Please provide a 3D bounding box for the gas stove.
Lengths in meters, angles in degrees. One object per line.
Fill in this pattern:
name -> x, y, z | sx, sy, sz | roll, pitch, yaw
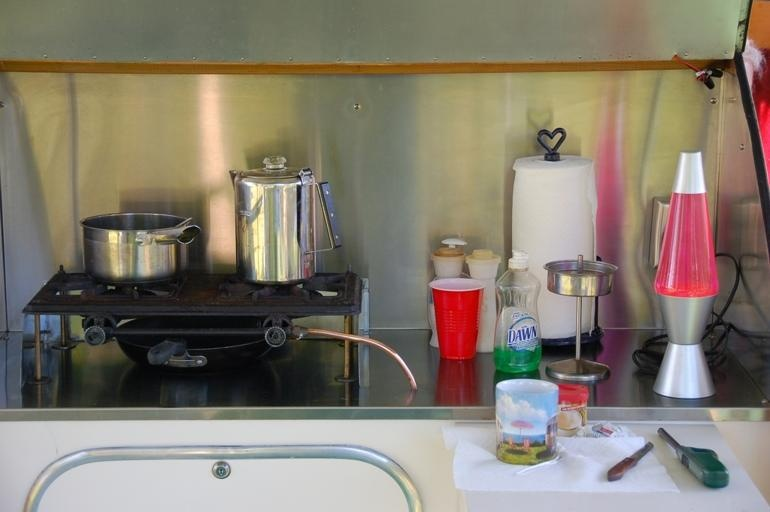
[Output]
gas stove -> -0.529, 0.128, 2.300 | 0.926, 0.203, 0.329 | -4, 7, 0

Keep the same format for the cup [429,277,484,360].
cup -> 0.221, 0.200, 2.366 | 0.179, 0.199, 0.164 | 0, -1, 0

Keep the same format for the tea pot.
tea pot -> -0.292, -0.112, 2.293 | 0.356, 0.328, 0.199 | 6, 17, 16

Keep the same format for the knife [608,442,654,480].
knife -> 0.585, 0.490, 1.853 | 0.045, 0.031, 0.230 | 14, 18, 31

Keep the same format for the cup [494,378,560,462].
cup -> 0.343, 0.409, 1.918 | 0.155, 0.168, 0.153 | 2, -1, 0

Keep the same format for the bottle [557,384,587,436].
bottle -> 0.477, 0.390, 1.989 | 0.078, 0.124, 0.054 | -4, 8, 1

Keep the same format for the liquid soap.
liquid soap -> 0.401, 0.160, 2.270 | 0.187, 0.355, 0.091 | -8, 8, -26

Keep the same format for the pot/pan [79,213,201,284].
pot/pan -> -0.712, -0.024, 2.293 | 0.318, 0.120, 0.246 | 3, 11, 3
